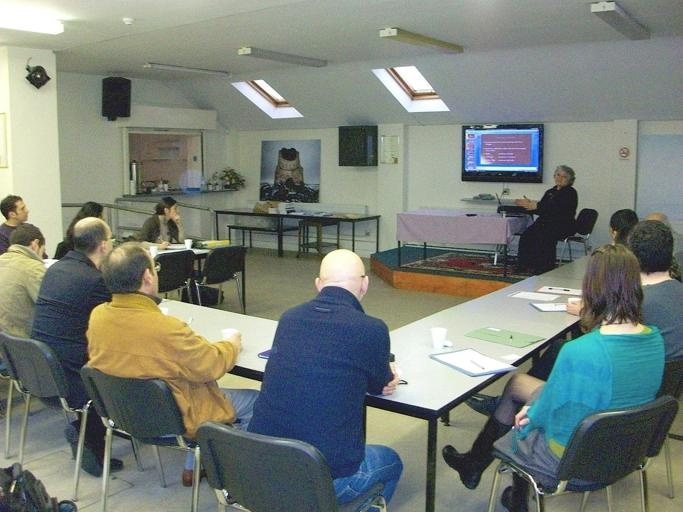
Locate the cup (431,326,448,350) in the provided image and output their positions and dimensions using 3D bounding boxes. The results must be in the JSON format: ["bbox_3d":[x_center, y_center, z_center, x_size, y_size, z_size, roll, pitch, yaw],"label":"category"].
[{"bbox_3d":[0.543,0.471,3.375,0.120,0.109,0.114,0,1,0],"label":"cup"}]

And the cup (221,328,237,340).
[{"bbox_3d":[-0.630,0.434,3.312,0.082,0.061,0.086,0,-2,0],"label":"cup"}]

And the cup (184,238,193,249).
[{"bbox_3d":[-1.688,-0.136,6.607,0.122,0.119,0.119,-1,9,0],"label":"cup"}]

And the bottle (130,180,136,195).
[{"bbox_3d":[-3.770,-1.244,10.688,0.083,0.265,0.102,-1,7,-9],"label":"bottle"}]

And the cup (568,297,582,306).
[{"bbox_3d":[1.568,0.307,4.032,0.092,0.063,0.092,-1,2,0],"label":"cup"}]

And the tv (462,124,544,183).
[{"bbox_3d":[2.610,-1.664,9.469,1.063,0.703,0.114,5,9,35],"label":"tv"}]

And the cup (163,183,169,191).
[{"bbox_3d":[-3.362,-1.319,11.332,0.099,0.156,0.219,-2,7,-16],"label":"cup"}]

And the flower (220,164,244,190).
[{"bbox_3d":[-2.284,-1.642,12.430,0.483,0.332,0.490,7,10,23],"label":"flower"}]

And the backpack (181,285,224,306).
[{"bbox_3d":[-1.645,0.491,7.090,0.281,0.111,0.352,2,4,14],"label":"backpack"}]

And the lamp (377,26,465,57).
[{"bbox_3d":[0.914,-2.568,7.057,0.217,0.113,1.280,0,3,37],"label":"lamp"}]

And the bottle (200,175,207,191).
[{"bbox_3d":[-2.777,-1.475,11.981,0.085,0.298,0.269,2,7,15],"label":"bottle"}]

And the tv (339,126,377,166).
[{"bbox_3d":[0.310,-2.031,10.772,0.785,0.622,0.253,3,5,33],"label":"tv"}]

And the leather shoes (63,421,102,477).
[{"bbox_3d":[-1.634,1.221,3.787,0.197,0.375,0.099,-35,-9,30],"label":"leather shoes"}]

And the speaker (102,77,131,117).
[{"bbox_3d":[-3.848,-2.728,10.110,0.434,0.630,0.250,-3,8,-25],"label":"speaker"}]

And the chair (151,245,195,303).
[{"bbox_3d":[-1.803,0.199,6.397,0.443,0.632,0.529,12,15,42],"label":"chair"}]
